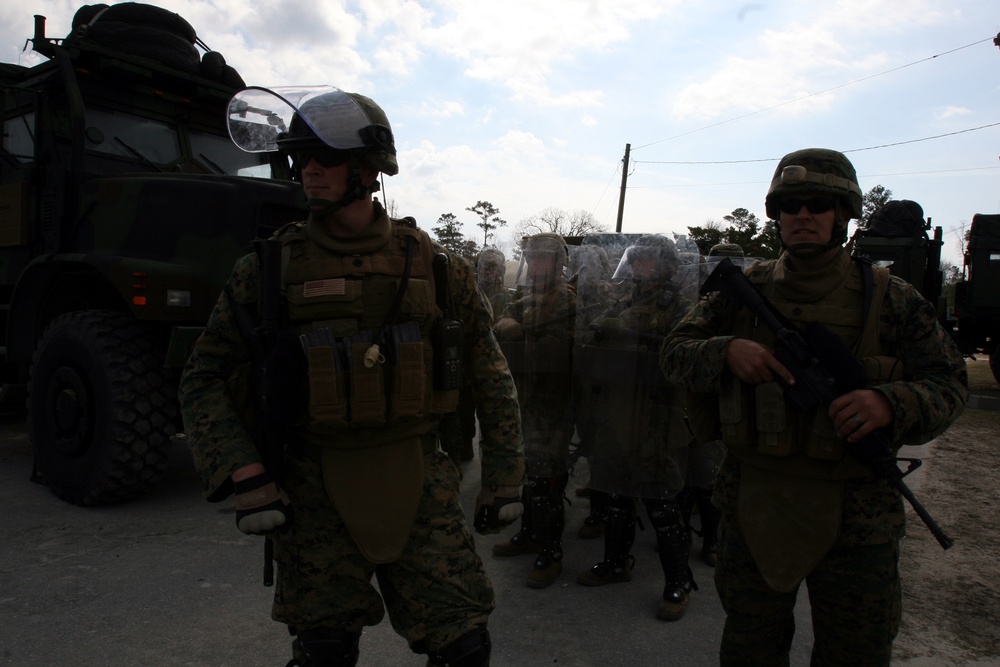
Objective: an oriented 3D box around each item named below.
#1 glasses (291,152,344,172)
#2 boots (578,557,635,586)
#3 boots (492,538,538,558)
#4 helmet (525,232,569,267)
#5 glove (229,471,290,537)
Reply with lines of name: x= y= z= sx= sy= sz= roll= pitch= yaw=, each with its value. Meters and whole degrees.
glasses: x=-0.685 y=-0.647 z=2.648 sx=0.111 sy=0.032 sz=0.111 roll=-1 pitch=-2 yaw=15
boots: x=0.622 y=1.404 z=4.217 sx=0.358 sy=0.139 sz=0.125 roll=3 pitch=-6 yaw=-18
boots: x=0.092 y=1.369 z=4.571 sx=0.307 sy=0.120 sz=0.100 roll=3 pitch=-2 yaw=-4
helmet: x=0.311 y=-0.525 z=4.575 sx=0.297 sy=0.255 sz=0.380 roll=1 pitch=-8 yaw=5
glove: x=-0.801 y=0.582 z=2.395 sx=0.167 sy=0.211 sz=0.106 roll=0 pitch=10 yaw=-19
